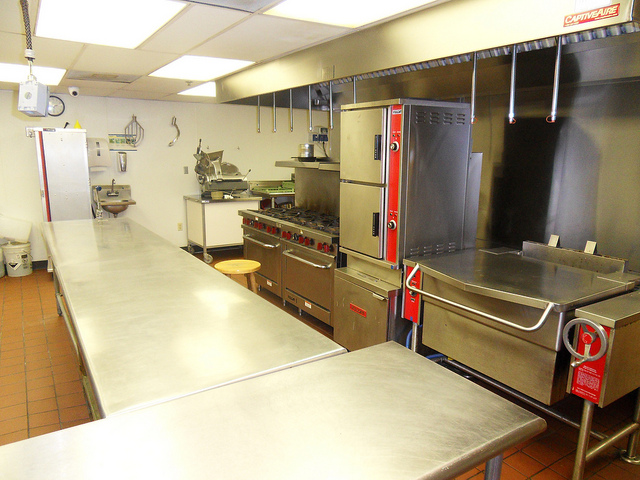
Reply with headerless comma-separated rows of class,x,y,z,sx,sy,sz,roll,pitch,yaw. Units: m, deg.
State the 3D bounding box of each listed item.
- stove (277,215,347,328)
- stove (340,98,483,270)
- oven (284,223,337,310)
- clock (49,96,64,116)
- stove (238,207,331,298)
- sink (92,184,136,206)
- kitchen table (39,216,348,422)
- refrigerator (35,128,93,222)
stove,0.033,0.225,4.719,0.874,0.882,0.675,17,24,40
stove,0.723,-0.332,3.770,0.659,1.427,0.967,-2,13,-27
oven,-0.074,0.228,4.426,0.511,0.743,0.726,-5,12,-35
clock,-3.490,-1.774,6.167,0.160,0.248,0.295,-3,13,-9
stove,-0.295,0.128,5.512,0.751,0.947,1.135,-3,13,-27
sink,-2.900,-0.647,6.608,0.525,0.253,0.473,-7,14,-25
kitchen table,-1.256,0.586,3.284,0.859,0.889,3.537,-6,16,-36
refrigerator,-3.194,-0.828,5.888,0.573,1.139,0.202,-9,15,-30
